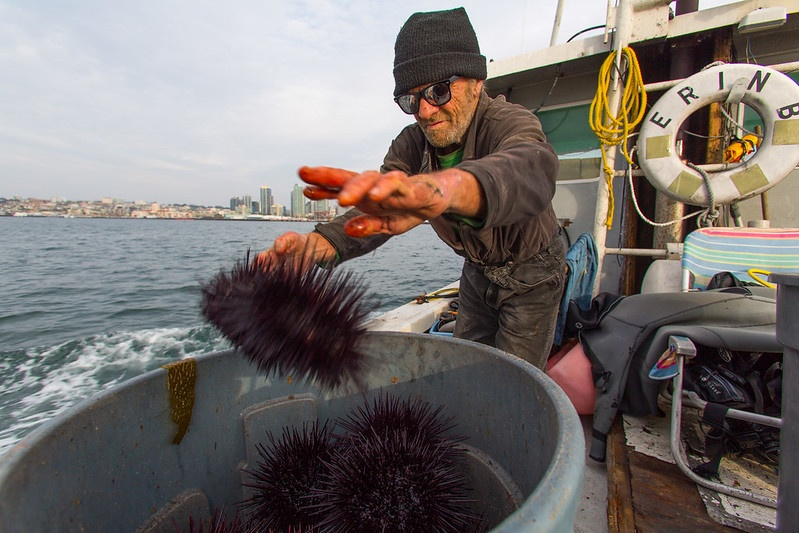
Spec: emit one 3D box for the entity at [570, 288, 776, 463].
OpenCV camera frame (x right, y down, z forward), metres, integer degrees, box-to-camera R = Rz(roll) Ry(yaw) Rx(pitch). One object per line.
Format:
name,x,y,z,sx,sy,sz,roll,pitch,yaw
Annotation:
entity,1.884,0.526,3.394,1.184,1.330,0.537,0,0,-23
